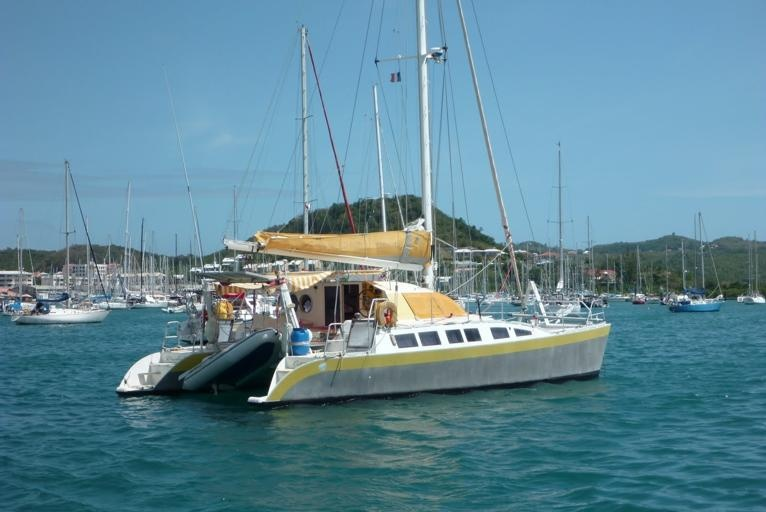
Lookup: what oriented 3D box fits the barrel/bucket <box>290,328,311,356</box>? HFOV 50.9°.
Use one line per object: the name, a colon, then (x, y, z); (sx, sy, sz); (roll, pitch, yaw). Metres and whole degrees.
barrel/bucket: (-2.461, 2.538, 23.861); (0.717, 0.742, 0.716); (0, -8, 0)
